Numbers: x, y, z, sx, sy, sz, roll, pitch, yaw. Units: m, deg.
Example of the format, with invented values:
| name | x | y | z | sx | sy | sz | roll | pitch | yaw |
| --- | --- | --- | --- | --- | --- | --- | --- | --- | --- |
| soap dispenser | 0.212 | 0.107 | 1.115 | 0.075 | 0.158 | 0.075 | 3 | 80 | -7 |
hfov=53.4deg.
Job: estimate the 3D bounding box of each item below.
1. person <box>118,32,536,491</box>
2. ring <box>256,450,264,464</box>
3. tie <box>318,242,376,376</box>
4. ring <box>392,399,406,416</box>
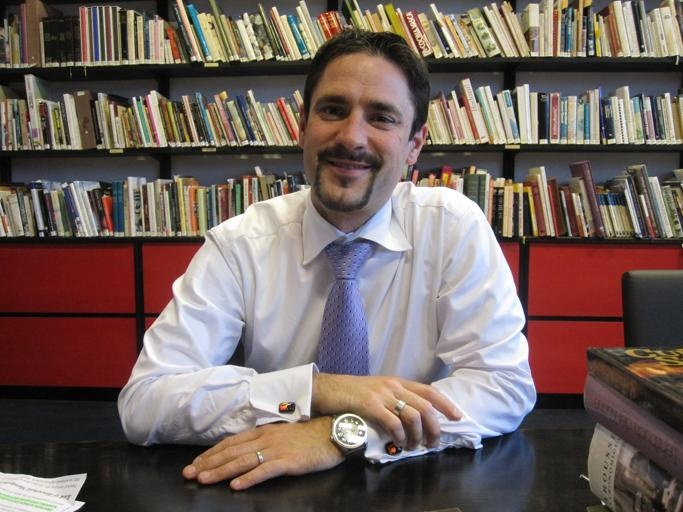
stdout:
| name | x | y | z | sx | sy | sz | roll | pitch | yaw |
| --- | --- | --- | --- | --- | --- | --- | --- | --- | --- |
| person | -0.051 | 0.076 | 2.233 | 1.241 | 1.638 | 0.969 | 0 | 4 | -32 |
| ring | -0.222 | 0.550 | 1.857 | 0.022 | 0.024 | 0.024 | 4 | 10 | -1 |
| tie | 0.013 | 0.163 | 2.222 | 0.194 | 0.432 | 0.138 | -2 | 3 | 2 |
| ring | 0.169 | 0.441 | 1.976 | 0.037 | 0.035 | 0.038 | -9 | 0 | 0 |
